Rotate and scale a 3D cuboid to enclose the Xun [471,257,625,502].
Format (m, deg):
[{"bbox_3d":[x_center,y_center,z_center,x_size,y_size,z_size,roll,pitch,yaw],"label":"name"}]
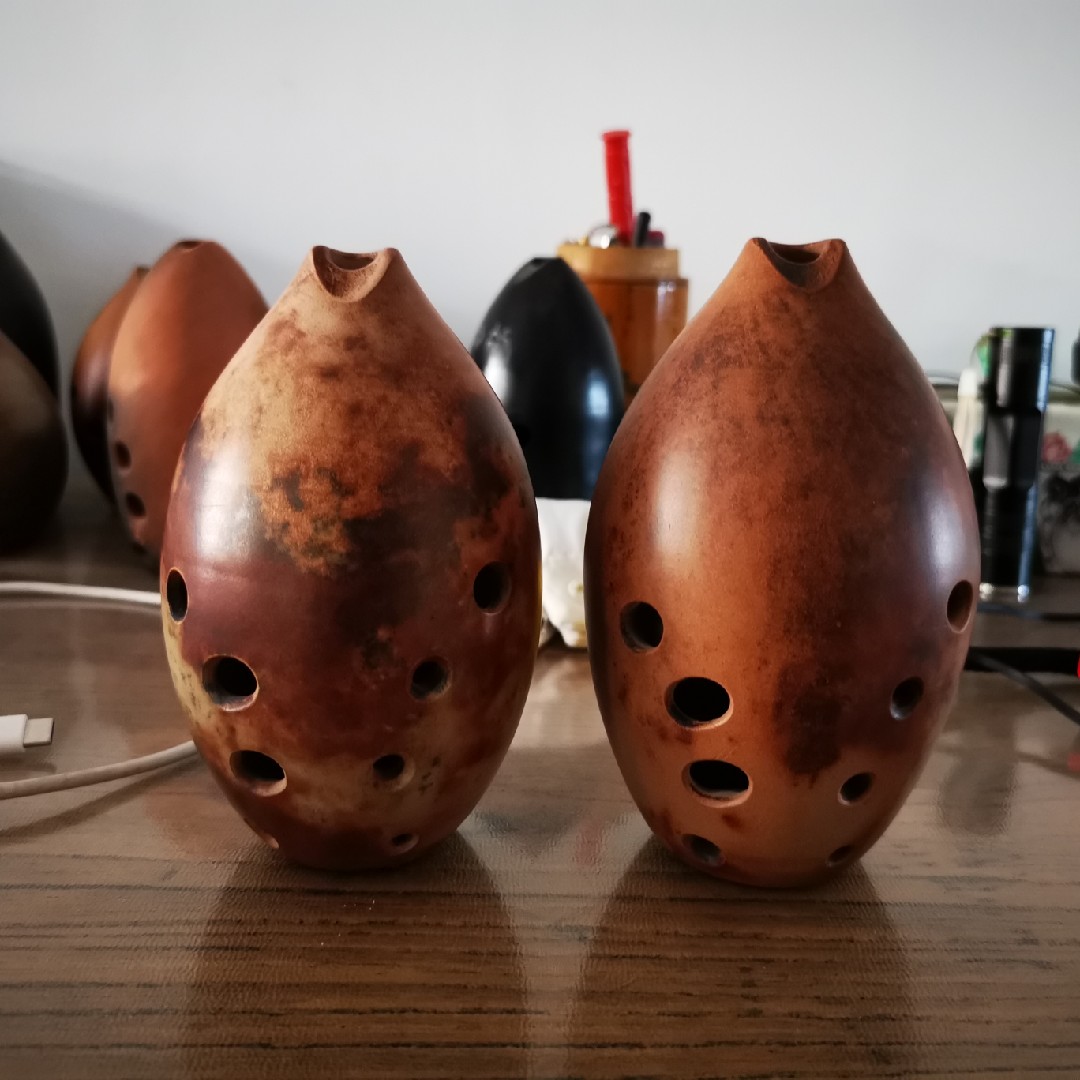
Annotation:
[{"bbox_3d":[0.007,-0.092,0.909,0.095,0.179,0.109,-2,-3,-7],"label":"Xun"}]

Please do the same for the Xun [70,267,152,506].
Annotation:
[{"bbox_3d":[-0.364,-0.124,1.111,0.082,0.176,0.113,-2,7,-32],"label":"Xun"}]
